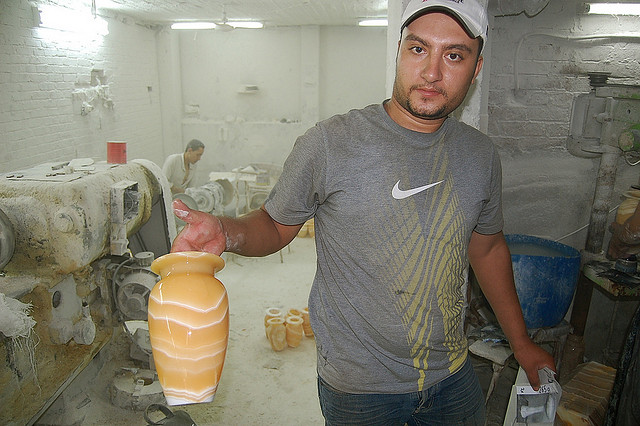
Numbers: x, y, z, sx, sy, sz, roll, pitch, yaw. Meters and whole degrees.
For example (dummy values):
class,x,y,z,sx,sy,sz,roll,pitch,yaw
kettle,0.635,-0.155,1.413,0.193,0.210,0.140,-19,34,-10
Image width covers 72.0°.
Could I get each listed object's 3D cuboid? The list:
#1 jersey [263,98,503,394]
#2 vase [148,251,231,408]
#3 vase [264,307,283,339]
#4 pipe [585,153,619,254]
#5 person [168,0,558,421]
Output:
class,x,y,z,sx,sy,sz,roll,pitch,yaw
jersey,0.334,0.169,2.236,1.134,1.393,0.439,-3,14,-15
vase,-0.569,0.493,1.913,0.333,0.639,0.245,-3,13,-13
vase,-0.611,1.401,5.733,0.229,0.343,0.221,-1,2,35
pipe,2.646,-0.093,4.137,0.154,0.928,0.238,9,15,32
person,0.276,0.043,2.183,1.391,2.130,0.426,-2,13,-13
